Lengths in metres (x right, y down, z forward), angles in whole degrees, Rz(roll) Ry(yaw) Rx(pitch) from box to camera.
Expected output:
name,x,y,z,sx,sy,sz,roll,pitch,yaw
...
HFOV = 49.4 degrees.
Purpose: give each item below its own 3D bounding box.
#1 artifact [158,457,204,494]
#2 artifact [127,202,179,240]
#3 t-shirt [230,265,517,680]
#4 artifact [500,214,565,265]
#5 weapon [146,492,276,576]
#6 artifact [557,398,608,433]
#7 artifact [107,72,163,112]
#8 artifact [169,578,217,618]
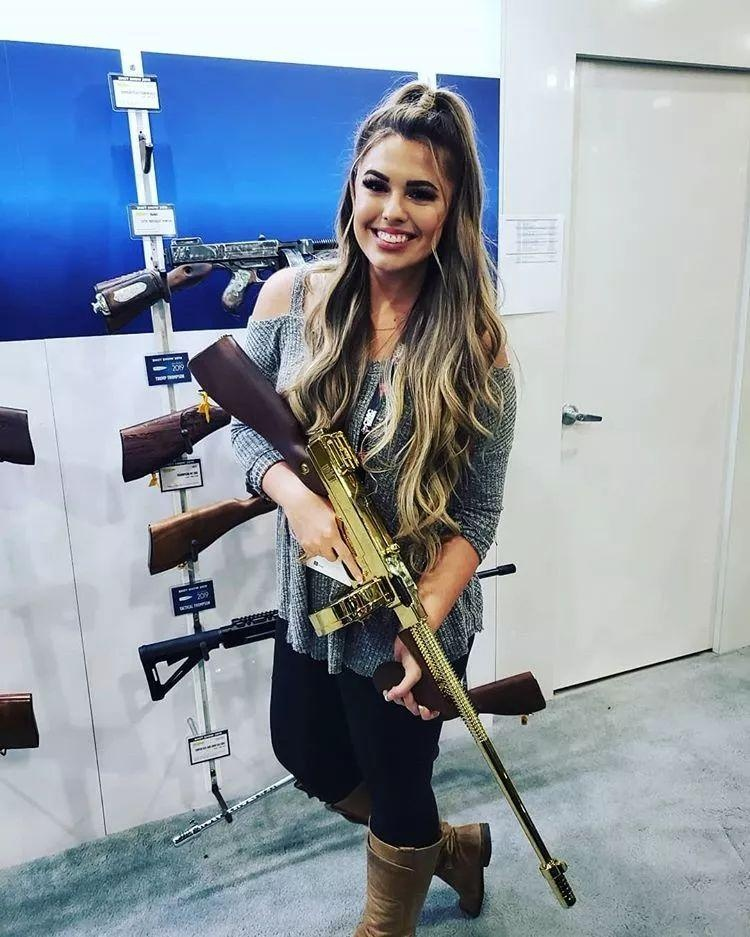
name,x,y,z,sx,sy,sz,roll,pitch,yaw
artifact,-0.441,0.012,1.873,0.130,0.083,0.067,-7,0,-18
artifact,-0.464,-0.522,1.727,0.112,0.068,0.068,-12,18,-28
t-shirt,-0.002,0.000,1.505,0.536,0.705,0.259,1,-10,-17
artifact,0.409,-0.597,2.147,0.157,0.134,0.036,-1,10,-16
weapon,-0.394,0.149,1.904,0.054,0.125,0.320,32,45,28
artifact,0.603,-0.148,2.383,0.072,0.064,0.121,-9,15,-22
artifact,-0.480,-0.750,1.631,0.091,0.070,0.056,-2,16,4
artifact,-0.436,0.304,1.935,0.111,0.075,0.018,-8,6,-20
